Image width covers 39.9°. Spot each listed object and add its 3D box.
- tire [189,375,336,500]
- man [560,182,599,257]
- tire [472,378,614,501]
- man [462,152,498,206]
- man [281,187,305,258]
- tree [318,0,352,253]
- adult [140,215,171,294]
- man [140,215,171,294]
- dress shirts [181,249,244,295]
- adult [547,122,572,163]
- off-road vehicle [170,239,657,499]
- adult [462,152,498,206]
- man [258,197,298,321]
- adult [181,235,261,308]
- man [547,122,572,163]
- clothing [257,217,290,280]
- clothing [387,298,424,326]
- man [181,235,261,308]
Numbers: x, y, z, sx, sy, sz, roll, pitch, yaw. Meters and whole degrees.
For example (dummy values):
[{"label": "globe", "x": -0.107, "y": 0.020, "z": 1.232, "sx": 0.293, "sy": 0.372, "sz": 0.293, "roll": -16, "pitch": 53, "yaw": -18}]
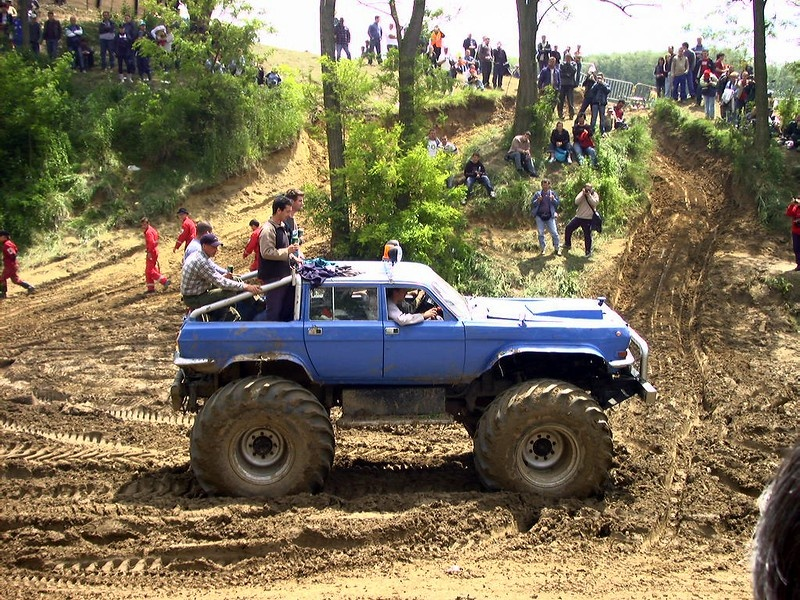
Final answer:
[{"label": "tire", "x": -2.670, "y": 2.705, "z": 21.208, "sx": 1.717, "sy": 2.088, "sz": 0.626, "roll": 3, "pitch": 2, "yaw": -2}, {"label": "man", "x": 4.762, "y": -2.130, "z": 28.764, "sx": 0.635, "sy": 1.994, "sz": 0.699, "roll": 14, "pitch": 22, "yaw": 20}, {"label": "tire", "x": 2.749, "y": 2.782, "z": 21.379, "sx": 1.764, "sy": 2.232, "sz": 0.661, "roll": 1, "pitch": 2, "yaw": -6}, {"label": "man", "x": 2.097, "y": -3.446, "z": 30.614, "sx": 0.706, "sy": 1.339, "sz": 1.144, "roll": -7, "pitch": 6, "yaw": -14}, {"label": "man", "x": -2.533, "y": -1.533, "z": 24.669, "sx": 0.462, "sy": 1.494, "sz": 0.366, "roll": 2, "pitch": 23, "yaw": -11}, {"label": "tree", "x": -1.662, "y": -4.426, "z": 28.321, "sx": 0.939, "sy": 6.385, "sz": 1.488, "roll": 2, "pitch": 9, "yaw": -5}, {"label": "adult", "x": -6.504, "y": -1.283, "z": 29.309, "sx": 0.663, "sy": 1.920, "sz": 2.006, "roll": 1, "pitch": 10, "yaw": -12}, {"label": "man", "x": -6.502, "y": -1.284, "z": 29.311, "sx": 0.660, "sy": 1.920, "sz": 2.006, "roll": 1, "pitch": 10, "yaw": -12}, {"label": "dress shirts", "x": -3.784, "y": -0.476, "z": 21.829, "sx": 0.998, "sy": 0.886, "sz": 0.827, "roll": 1, "pitch": 8, "yaw": -10}, {"label": "adult", "x": 4.649, "y": -4.553, "z": 32.088, "sx": 0.727, "sy": 1.556, "sz": 1.003, "roll": 0, "pitch": 14, "yaw": 5}, {"label": "off-road vehicle", "x": 0.193, "y": 1.754, "z": 23.303, "sx": 8.384, "sy": 5.537, "sz": 4.734, "roll": -2, "pitch": 16, "yaw": -2}, {"label": "adult", "x": 2.108, "y": -3.438, "z": 30.578, "sx": 0.722, "sy": 1.342, "sz": 1.185, "roll": -5, "pitch": 5, "yaw": -17}, {"label": "man", "x": -2.416, "y": -0.645, "z": 22.328, "sx": 0.741, "sy": 3.122, "sz": 1.046, "roll": 9, "pitch": 28, "yaw": 15}, {"label": "adult", "x": -3.572, "y": -0.574, "z": 22.236, "sx": 1.561, "sy": 1.579, "sz": 1.239, "roll": 1, "pitch": 12, "yaw": -5}, {"label": "man", "x": 4.615, "y": -4.575, "z": 31.917, "sx": 0.637, "sy": 1.352, "sz": 0.934, "roll": 0, "pitch": -2, "yaw": -9}, {"label": "clothing", "x": -2.542, "y": -0.972, "z": 22.470, "sx": 0.777, "sy": 1.500, "sz": 1.138, "roll": -3, "pitch": 9, "yaw": -7}, {"label": "clothing", "x": 0.069, "y": 0.314, "z": 21.471, "sx": 0.449, "sy": 0.226, "sz": 0.509, "roll": 14, "pitch": 12, "yaw": 4}, {"label": "man", "x": -3.605, "y": -0.603, "z": 22.222, "sx": 1.526, "sy": 1.571, "sz": 1.197, "roll": -1, "pitch": 14, "yaw": -16}]
